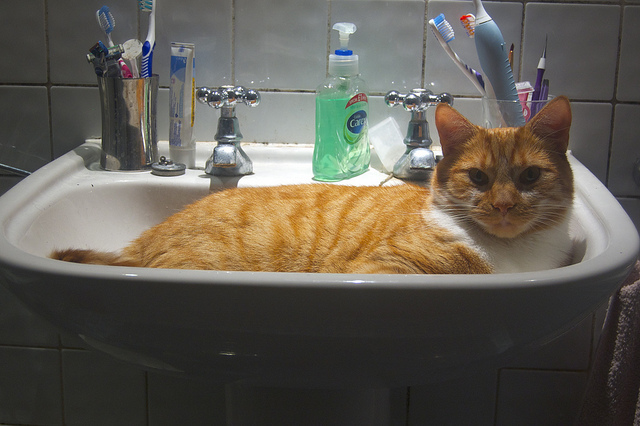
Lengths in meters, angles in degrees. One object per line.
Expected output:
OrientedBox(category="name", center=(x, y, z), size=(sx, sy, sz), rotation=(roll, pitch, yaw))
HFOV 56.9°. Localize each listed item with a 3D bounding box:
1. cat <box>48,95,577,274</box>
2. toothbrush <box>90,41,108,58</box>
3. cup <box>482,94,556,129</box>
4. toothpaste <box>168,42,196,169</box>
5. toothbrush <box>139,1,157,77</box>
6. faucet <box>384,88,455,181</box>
OrientedBox(category="cat", center=(-0.037, -0.019, 1.075), size=(0.920, 0.358, 0.340), rotation=(1, -1, -10))
OrientedBox(category="toothbrush", center=(-0.462, -0.336, 1.221), size=(0.028, 0.028, 0.010), rotation=(46, -1, -32))
OrientedBox(category="cup", center=(0.388, -0.193, 1.137), size=(0.101, 0.076, 0.095), rotation=(-2, 11, 0))
OrientedBox(category="toothpaste", center=(-0.298, -0.229, 1.293), size=(0.075, 0.272, 0.061), rotation=(15, 22, 34))
OrientedBox(category="toothbrush", center=(-0.379, -0.383, 1.295), size=(0.038, 0.170, 0.102), rotation=(-1, 11, -15))
OrientedBox(category="faucet", center=(0.206, -0.160, 1.258), size=(0.144, 0.208, 0.123), rotation=(0, 17, 7))
